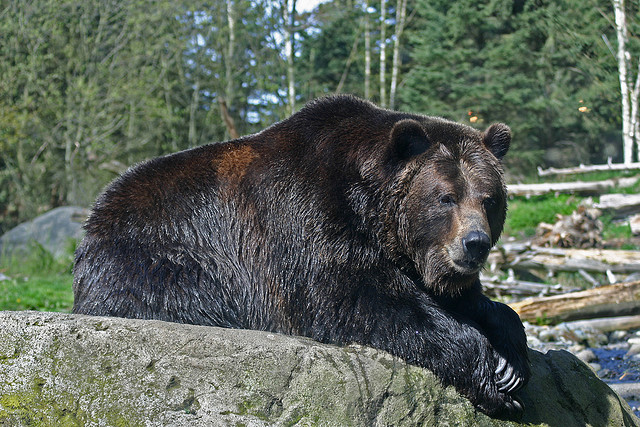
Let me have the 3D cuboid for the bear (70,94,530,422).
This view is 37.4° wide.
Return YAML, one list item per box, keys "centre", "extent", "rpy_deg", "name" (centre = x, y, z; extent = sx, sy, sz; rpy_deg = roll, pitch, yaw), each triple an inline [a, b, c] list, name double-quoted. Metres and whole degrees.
- centre: [-0.030, 0.778, 13.942]
  extent: [6.098, 4.403, 1.970]
  rpy_deg: [1, 9, 13]
  name: "bear"

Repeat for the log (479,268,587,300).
- centre: [4.153, 1.409, 18.347]
  extent: [2.118, 0.416, 0.580]
  rpy_deg: [-4, 12, 22]
  name: "log"
